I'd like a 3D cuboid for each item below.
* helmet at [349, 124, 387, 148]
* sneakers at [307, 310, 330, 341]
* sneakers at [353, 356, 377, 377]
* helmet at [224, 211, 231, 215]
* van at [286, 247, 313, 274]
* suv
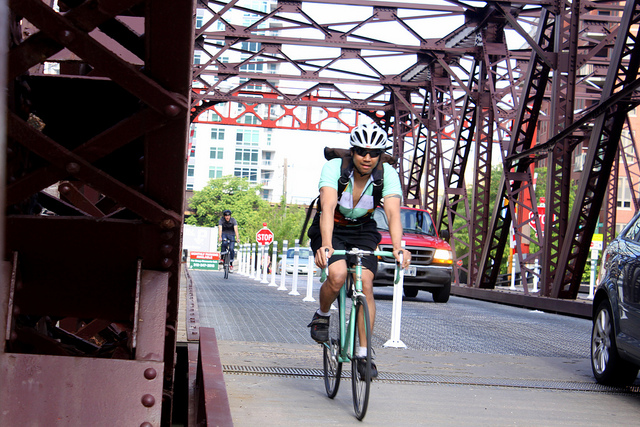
[{"bbox_3d":[0.384,-0.613,5.332,0.335,0.219,0.493,2,2,8],"label":"helmet"},{"bbox_3d":[0.012,0.940,5.562,0.171,0.212,0.449,11,8,-4],"label":"sneakers"},{"bbox_3d":[0.353,1.146,4.850,0.131,0.102,0.223,1,0,-13],"label":"sneakers"},{"bbox_3d":[-2.993,-0.019,21.191,0.133,0.138,0.176,1,4,-3],"label":"helmet"},{"bbox_3d":[-1.227,2.818,39.388,1.682,1.615,3.167,0,-4,-4],"label":"van"},{"bbox_3d":[2.119,0.950,17.277,2.242,2.410,4.536,5,-4,1],"label":"suv"}]
